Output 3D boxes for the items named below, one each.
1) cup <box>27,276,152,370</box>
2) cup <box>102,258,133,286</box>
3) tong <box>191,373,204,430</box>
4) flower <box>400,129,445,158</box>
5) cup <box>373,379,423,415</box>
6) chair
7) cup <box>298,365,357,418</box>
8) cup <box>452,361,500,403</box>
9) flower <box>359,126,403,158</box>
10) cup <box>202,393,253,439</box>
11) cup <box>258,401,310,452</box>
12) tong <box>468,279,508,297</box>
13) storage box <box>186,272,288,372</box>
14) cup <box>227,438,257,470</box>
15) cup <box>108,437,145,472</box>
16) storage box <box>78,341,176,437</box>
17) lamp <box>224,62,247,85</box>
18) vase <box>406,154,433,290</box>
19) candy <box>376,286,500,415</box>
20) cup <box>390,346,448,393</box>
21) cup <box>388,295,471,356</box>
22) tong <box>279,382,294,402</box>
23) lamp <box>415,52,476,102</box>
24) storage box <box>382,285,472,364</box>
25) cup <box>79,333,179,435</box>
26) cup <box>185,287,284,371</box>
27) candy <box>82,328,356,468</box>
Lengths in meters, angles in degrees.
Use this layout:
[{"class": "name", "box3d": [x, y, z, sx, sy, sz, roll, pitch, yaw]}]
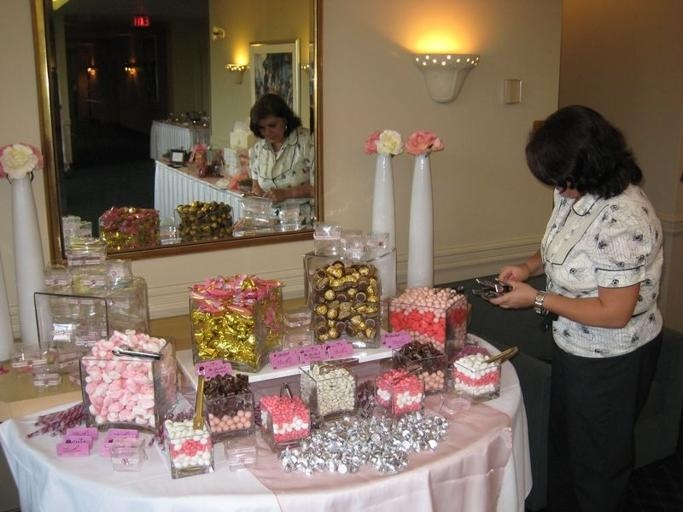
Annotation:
[{"class": "cup", "box3d": [-0.996, 0.215, 2.033, 0.350, 0.375, 0.343, -1, 0, 0]}, {"class": "cup", "box3d": [-0.883, 0.061, 2.027, 0.092, 0.100, 0.096, -1, 12, 0]}, {"class": "tong", "box3d": [-0.416, 0.428, 1.489, 0.031, 0.156, 0.032, 2, -8, -8]}, {"class": "flower", "box3d": [0.397, -0.545, 2.456, 0.159, 0.109, 0.173, 1, 15, 20]}, {"class": "cup", "box3d": [0.200, 0.462, 1.660, 0.112, 0.088, 0.116, -2, 4, 0]}, {"class": "chair", "box3d": [1.197, 0.723, 3.097, 1.208, 1.360, 1.328, -2, 3, -25]}, {"class": "cup", "box3d": [-0.045, 0.423, 1.696, 0.154, 0.168, 0.157, 0, 8, 0]}, {"class": "cup", "box3d": [0.480, 0.435, 1.837, 0.132, 0.137, 0.131, 0, 4, 0]}, {"class": "flower", "box3d": [0.201, -0.556, 2.512, 0.113, 0.119, 0.174, -13, 17, -34]}, {"class": "cup", "box3d": [-0.347, 0.454, 1.566, 0.134, 0.141, 0.131, -2, 2, 0]}, {"class": "cup", "box3d": [-0.174, 0.491, 1.558, 0.128, 0.135, 0.128, 1, 6, 0]}, {"class": "tong", "box3d": [0.709, 0.154, 2.475, 0.253, 0.065, 0.134, 4, 4, -34]}, {"class": "storage box", "box3d": [-0.352, 0.201, 1.908, 0.298, 0.405, 0.311, 1, 10, 6]}, {"class": "cup", "box3d": [-0.286, 0.564, 1.481, 0.068, 0.057, 0.071, -1, 6, 0]}, {"class": "cup", "box3d": [-0.612, 0.569, 1.449, 0.086, 0.092, 0.090, 1, 10, 0]}, {"class": "storage box", "box3d": [-0.679, 0.409, 1.700, 0.258, 0.280, 0.272, 2, 2, 3]}, {"class": "lamp", "box3d": [-0.545, -0.931, 2.605, 0.091, 0.075, 0.096, -1, 7, -1]}, {"class": "vase", "box3d": [0.368, -0.167, 2.445, 0.130, 0.627, 0.237, -2, 14, 8]}, {"class": "candy", "box3d": [0.314, 0.305, 1.952, 0.253, 0.270, 0.252, 5, 13, 21]}, {"class": "cup", "box3d": [0.269, 0.362, 1.803, 0.161, 0.171, 0.161, 2, 5, 0]}, {"class": "cup", "box3d": [0.354, 0.227, 2.045, 0.236, 0.242, 0.242, 1, 6, 0]}, {"class": "tong", "box3d": [-0.177, 0.437, 1.633, 0.040, 0.056, 0.088, -8, -15, -2]}, {"class": "lamp", "box3d": [0.627, -1.083, 3.084, 0.369, 0.285, 0.183, -11, 15, -26]}, {"class": "storage box", "box3d": [0.317, 0.249, 1.978, 0.255, 0.265, 0.253, 2, -2, 26]}, {"class": "cup", "box3d": [-0.655, 0.392, 1.705, 0.278, 0.314, 0.282, 6, 4, 0]}, {"class": "cup", "box3d": [-0.380, 0.227, 1.843, 0.262, 0.277, 0.272, 1, 2, 0]}, {"class": "candy", "box3d": [-0.467, 0.379, 1.621, 0.618, 0.348, 0.354, -5, 23, -21]}]
